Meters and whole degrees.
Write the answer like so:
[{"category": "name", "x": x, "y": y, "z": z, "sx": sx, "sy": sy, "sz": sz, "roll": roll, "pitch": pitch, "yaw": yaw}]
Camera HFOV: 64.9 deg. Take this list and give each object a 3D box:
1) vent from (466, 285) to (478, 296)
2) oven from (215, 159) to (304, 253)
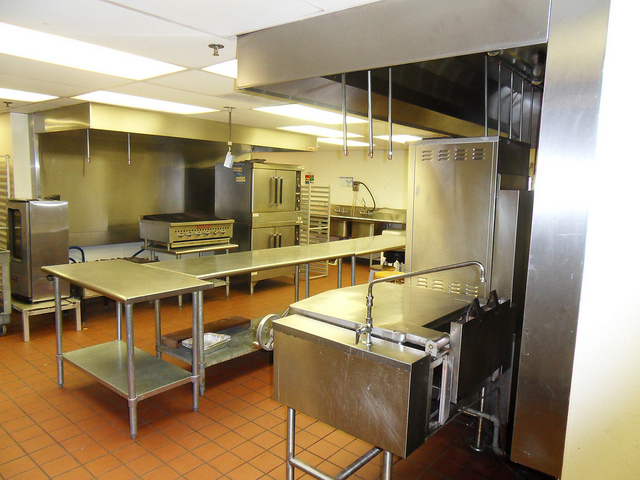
[{"category": "vent", "x": 1.119, "y": 0.368, "z": 3.715, "sx": 0.068, "sy": 0.073, "sz": 0.018, "roll": -6, "pitch": 0, "yaw": 41}, {"category": "oven", "x": -0.881, "y": -0.488, "z": 7.427, "sx": 1.289, "sy": 1.301, "sz": 0.760, "roll": -1, "pitch": 13, "yaw": -12}]
